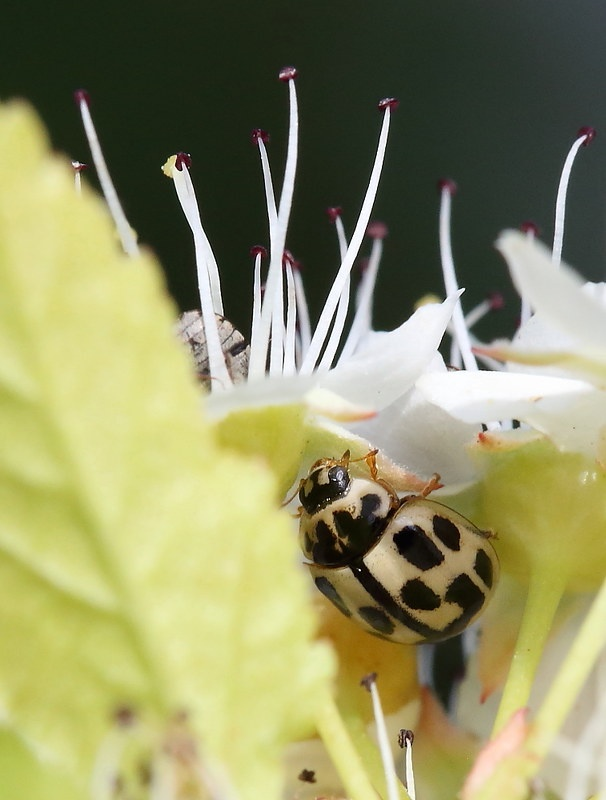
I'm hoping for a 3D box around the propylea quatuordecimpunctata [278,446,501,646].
[{"bbox_3d":[0.023,0.038,0.325,0.050,0.045,0.017,42,15,0],"label":"propylea quatuordecimpunctata"}]
